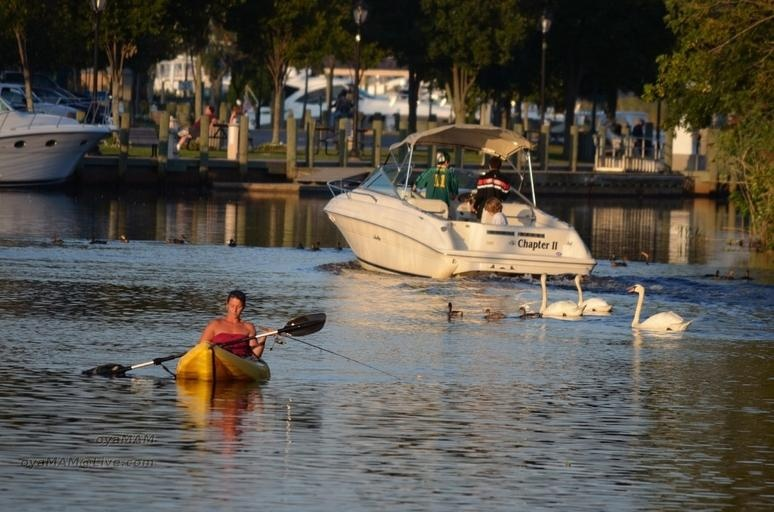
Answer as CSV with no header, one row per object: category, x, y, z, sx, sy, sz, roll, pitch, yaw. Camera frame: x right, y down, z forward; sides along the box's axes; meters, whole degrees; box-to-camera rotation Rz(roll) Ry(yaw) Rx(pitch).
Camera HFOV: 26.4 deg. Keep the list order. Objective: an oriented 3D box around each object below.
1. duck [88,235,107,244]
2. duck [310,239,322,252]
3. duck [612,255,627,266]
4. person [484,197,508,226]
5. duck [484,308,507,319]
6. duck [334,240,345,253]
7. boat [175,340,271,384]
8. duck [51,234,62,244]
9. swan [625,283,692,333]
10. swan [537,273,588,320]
duck,-7.968,-0.456,45.600,0.373,0.143,0.268,1,-1,16
duck,-1.961,-0.277,45.916,0.185,0.247,0.445,1,5,-7
duck,6.245,0.128,44.663,0.249,0.373,0.748,-2,-3,-15
person,2.642,-1.119,40.426,0.534,0.683,0.971,1,-2,1
duck,2.365,1.292,36.977,0.553,0.342,0.195,1,4,-4
duck,-1.314,-0.221,46.326,0.248,0.166,0.336,3,13,-2
boat,-3.170,2.071,31.944,1.725,0.746,0.447,1,-2,-10
duck,-9.028,-0.470,45.504,0.221,0.270,0.709,-1,-2,-9
swan,6.194,1.341,36.879,1.891,1.384,0.657,2,-2,11
swan,3.980,1.083,37.660,1.587,1.127,0.611,2,2,27
